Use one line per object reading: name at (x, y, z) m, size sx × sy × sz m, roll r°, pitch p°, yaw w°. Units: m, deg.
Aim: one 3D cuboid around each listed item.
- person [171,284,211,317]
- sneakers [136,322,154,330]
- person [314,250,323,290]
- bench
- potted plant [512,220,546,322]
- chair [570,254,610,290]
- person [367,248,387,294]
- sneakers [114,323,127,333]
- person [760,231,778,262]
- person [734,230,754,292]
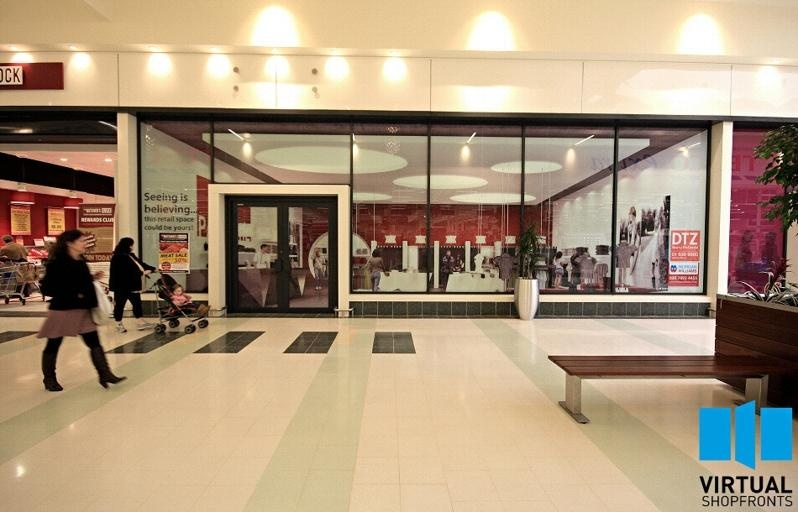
person at (-4.406, 0.941, 11.783) m, size 0.962 × 0.675 × 0.451 m, roll 2°, pitch 5°, yaw -4°
sneakers at (-5.323, 1.478, 11.747) m, size 0.384 × 0.154 × 0.150 m, roll -1°, pitch 12°, yaw -25°
person at (-1.852, 0.324, 12.861) m, size 0.198 × 0.903 × 0.176 m, roll -2°, pitch 14°, yaw -7°
bench at (4.200, 2.042, 8.879) m, size 3.518 × 0.868 × 0.709 m, roll -1°, pitch 14°, yaw -4°
potted plant at (2.926, 0.361, 12.657) m, size 0.584 × 2.060 × 0.886 m, roll 4°, pitch 14°, yaw 14°
chair at (4.366, 0.398, 12.928) m, size 0.856 × 0.807 × 0.449 m, roll 1°, pitch -2°, yaw 4°
person at (-0.524, 0.329, 12.789) m, size 0.339 × 0.939 × 0.218 m, roll -2°, pitch 14°, yaw -7°
sneakers at (-5.702, 1.481, 11.519) m, size 0.296 × 0.191 × 0.131 m, roll -2°, pitch -4°, yaw 22°
person at (8.676, -0.190, 13.103) m, size 0.401 × 0.720 × 0.162 m, roll -3°, pitch 14°, yaw -11°
person at (8.028, 0.085, 13.072) m, size 0.310 × 1.354 × 0.532 m, roll 13°, pitch 19°, yaw 43°
